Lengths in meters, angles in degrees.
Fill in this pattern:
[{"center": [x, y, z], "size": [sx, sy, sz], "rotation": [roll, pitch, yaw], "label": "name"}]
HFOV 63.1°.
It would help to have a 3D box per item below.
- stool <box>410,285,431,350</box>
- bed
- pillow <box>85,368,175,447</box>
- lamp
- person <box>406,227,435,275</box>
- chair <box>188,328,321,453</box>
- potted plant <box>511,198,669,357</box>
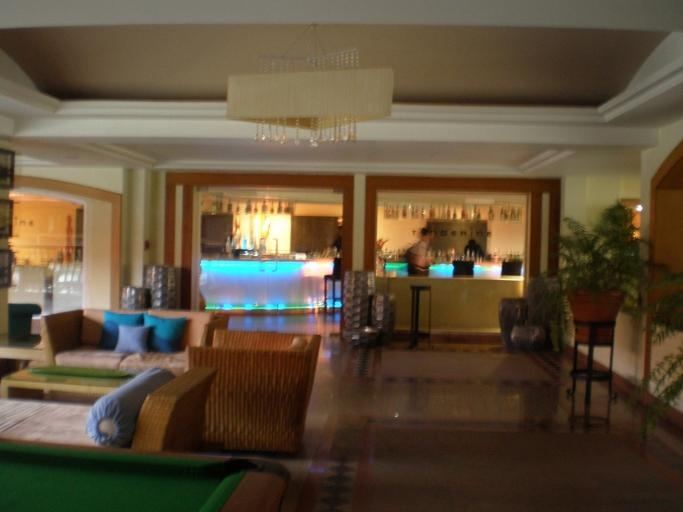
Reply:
[{"center": [1.448, 1.012, 9.988], "size": [0.372, 1.042, 1.231], "rotation": [1, 4, 9], "label": "stool"}, {"center": [-1.886, 1.253, 4.340], "size": [1.508, 0.594, 0.827], "rotation": [4, 1, 11], "label": "bed"}, {"center": [-1.605, 1.160, 4.198], "size": [0.422, 0.407, 0.598], "rotation": [1, 4, 9], "label": "pillow"}, {"center": [-0.042, -1.319, 4.657], "size": [1.396, 0.804, 1.466], "rotation": [8, 13, 40], "label": "lamp"}, {"center": [1.585, -0.111, 11.350], "size": [0.474, 0.899, 1.121], "rotation": [1, 4, 7], "label": "person"}, {"center": [-0.654, 1.287, 5.485], "size": [1.161, 1.084, 1.055], "rotation": [4, -7, 8], "label": "chair"}, {"center": [3.235, 0.276, 6.960], "size": [1.151, 1.914, 0.856], "rotation": [0, 4, -10], "label": "potted plant"}]
